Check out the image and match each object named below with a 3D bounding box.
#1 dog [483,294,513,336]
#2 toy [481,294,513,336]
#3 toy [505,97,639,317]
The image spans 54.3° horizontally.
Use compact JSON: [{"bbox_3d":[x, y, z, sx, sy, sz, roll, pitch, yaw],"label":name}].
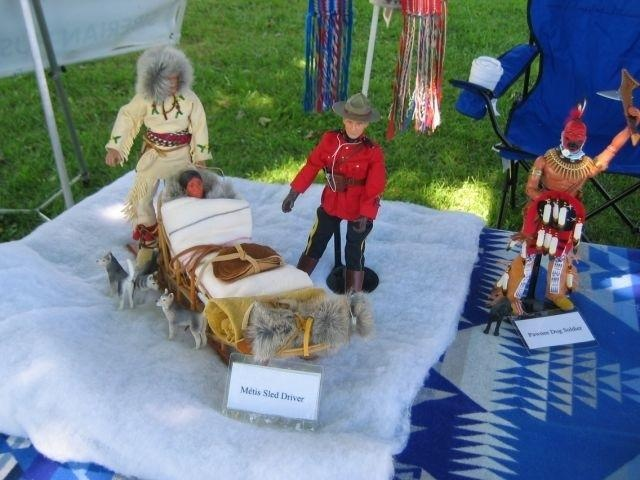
[{"bbox_3d":[1.223,0.521,4.296,0.149,0.331,0.115,15,27,2],"label":"dog"},{"bbox_3d":[1.223,0.507,4.294,0.153,0.198,0.261,14,39,17],"label":"toy"},{"bbox_3d":[1.626,-0.160,4.228,0.573,1.295,0.943,20,41,25],"label":"toy"}]
